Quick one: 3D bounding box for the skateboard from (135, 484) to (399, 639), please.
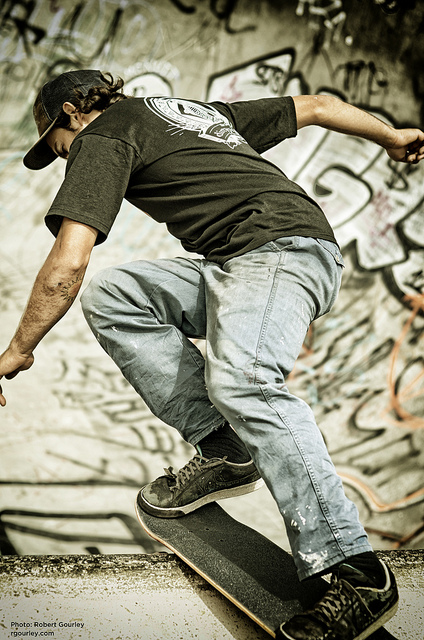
[{"bbox_3d":[0.081,0.878,2.254,1.120,0.179,0.318,29,36,35],"label":"skateboard"}]
